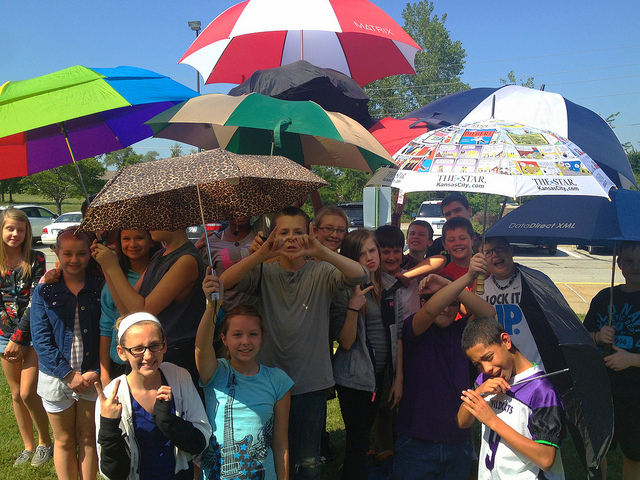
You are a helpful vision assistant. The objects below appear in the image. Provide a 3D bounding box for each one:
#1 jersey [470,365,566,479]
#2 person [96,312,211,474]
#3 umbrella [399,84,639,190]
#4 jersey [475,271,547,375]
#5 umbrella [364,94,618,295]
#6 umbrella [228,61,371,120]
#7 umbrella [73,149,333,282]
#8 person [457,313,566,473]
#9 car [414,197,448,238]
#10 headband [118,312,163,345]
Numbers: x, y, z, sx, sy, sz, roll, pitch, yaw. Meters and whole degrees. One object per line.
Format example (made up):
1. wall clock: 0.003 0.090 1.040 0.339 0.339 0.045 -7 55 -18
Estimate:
1. jersey: 1.407 1.280 3.616 0.454 0.849 0.767 9 -19 -16
2. person: -1.134 1.106 3.502 0.736 0.949 0.355 -1 0 -24
3. umbrella: 1.755 -0.906 4.653 1.891 0.726 1.864 4 2 -29
4. jersey: 1.799 0.675 4.741 0.222 0.962 0.521 -8 -22 -45
5. umbrella: 1.295 -0.305 4.336 1.677 1.472 1.651 2 -2 3
6. umbrella: -0.083 -1.666 5.888 1.679 0.615 1.627 -8 15 -44
7. umbrella: -0.818 -0.120 3.459 1.264 0.722 1.276 -21 -13 23
8. person: 1.357 1.135 3.720 0.707 1.173 0.466 -1 0 26
9. car: 3.582 -0.632 17.703 1.462 1.478 2.583 1 10 5
10. headband: -1.235 0.585 3.457 0.196 0.113 0.203 -28 -13 30
